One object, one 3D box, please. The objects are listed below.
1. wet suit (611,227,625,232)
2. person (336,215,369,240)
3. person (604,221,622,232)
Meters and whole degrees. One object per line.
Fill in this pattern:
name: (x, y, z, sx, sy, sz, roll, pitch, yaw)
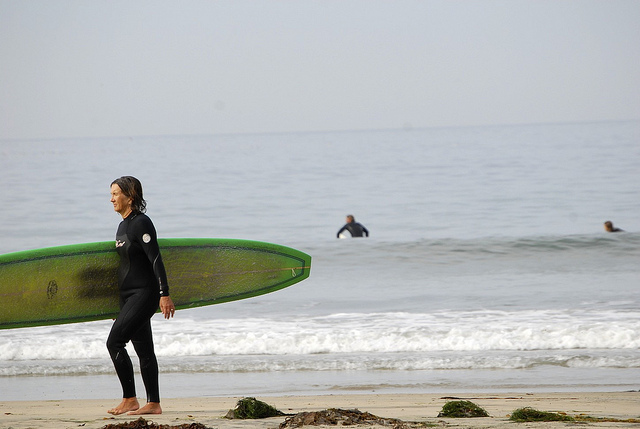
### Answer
wet suit: (12.240, 0.606, 53.932, 0.375, 0.169, 1.888, -2, 4, 19)
person: (1.290, 0.488, 52.217, 1.141, 0.974, 3.036, -4, 4, 1)
person: (11.778, 0.481, 53.013, 0.541, 0.455, 1.433, -3, 4, 12)
